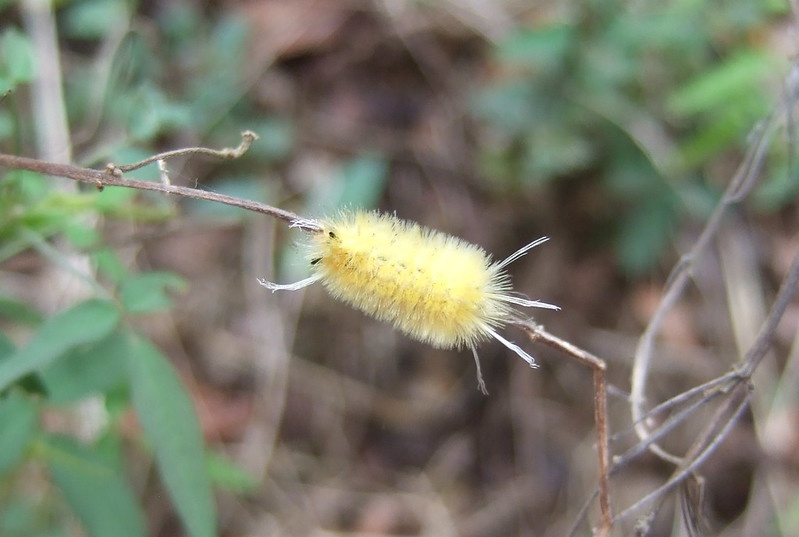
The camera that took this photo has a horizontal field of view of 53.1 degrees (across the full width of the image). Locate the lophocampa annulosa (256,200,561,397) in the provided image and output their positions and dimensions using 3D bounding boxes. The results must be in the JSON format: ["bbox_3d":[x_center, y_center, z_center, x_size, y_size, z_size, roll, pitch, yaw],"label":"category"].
[{"bbox_3d":[0.017,0.025,1.288,0.424,0.236,0.124,20,-5,-1],"label":"lophocampa annulosa"}]
